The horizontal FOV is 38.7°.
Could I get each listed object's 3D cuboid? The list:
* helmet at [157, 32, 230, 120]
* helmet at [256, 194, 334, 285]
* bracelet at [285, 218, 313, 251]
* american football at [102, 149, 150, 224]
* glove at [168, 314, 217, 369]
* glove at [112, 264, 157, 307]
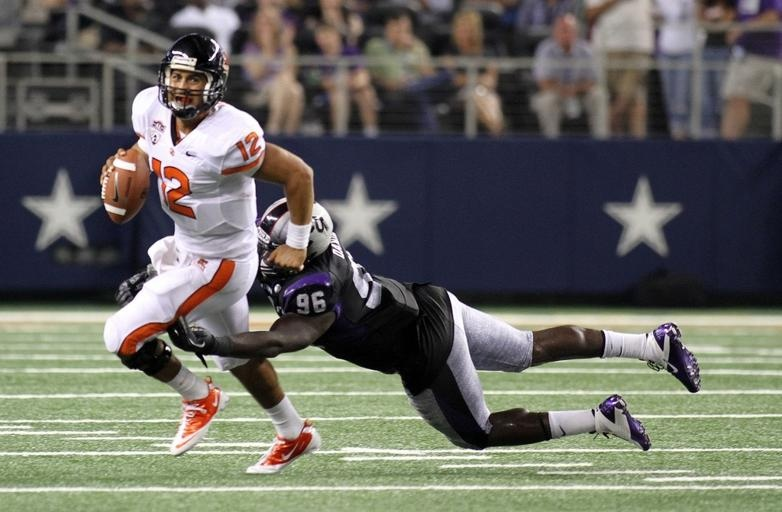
[{"bbox_3d":[-1.262,-1.207,7.460,0.464,0.534,0.582,17,32,12],"label":"helmet"},{"bbox_3d":[-0.692,-0.097,7.302,0.607,0.488,0.480,3,8,3],"label":"helmet"},{"bbox_3d":[-0.575,-0.142,7.153,0.177,0.174,0.172,6,-9,10],"label":"bracelet"},{"bbox_3d":[-1.736,-0.457,7.537,0.212,0.447,0.361,12,-6,-30],"label":"american football"},{"bbox_3d":[-1.233,0.497,6.923,0.318,0.224,0.117,28,49,20],"label":"glove"},{"bbox_3d":[-1.710,0.207,7.573,0.308,0.135,0.218,-31,53,-11],"label":"glove"}]
